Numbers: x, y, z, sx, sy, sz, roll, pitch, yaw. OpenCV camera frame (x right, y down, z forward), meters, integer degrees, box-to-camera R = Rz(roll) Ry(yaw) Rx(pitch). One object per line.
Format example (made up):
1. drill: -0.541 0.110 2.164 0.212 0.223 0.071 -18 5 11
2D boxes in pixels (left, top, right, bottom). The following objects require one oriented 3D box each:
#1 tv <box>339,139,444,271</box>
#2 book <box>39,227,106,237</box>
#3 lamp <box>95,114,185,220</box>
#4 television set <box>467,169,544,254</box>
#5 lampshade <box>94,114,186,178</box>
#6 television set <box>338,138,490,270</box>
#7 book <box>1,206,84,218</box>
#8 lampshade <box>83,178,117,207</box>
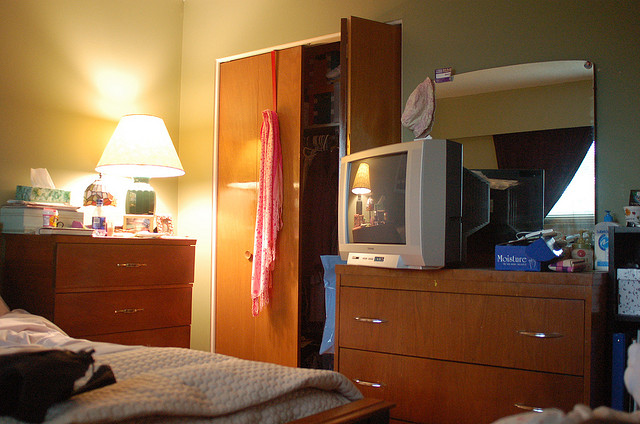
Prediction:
1. tv: 0.447 -0.007 2.924 0.400 0.653 0.672 2 0 -38
2. book: -1.555 0.126 3.157 0.391 0.054 0.279 3 -2 -30
3. lamp: -1.401 -0.303 3.979 0.692 1.112 0.729 -1 2 -29
4. television set: 1.180 -0.042 3.188 0.483 0.482 0.268 4 15 28
5. lampshade: -1.298 -0.402 3.579 0.517 0.307 0.500 -2 2 -35
6. television set: 0.557 0.014 3.062 0.790 0.715 0.863 -2 -6 38
7. book: -1.799 0.002 3.228 0.470 0.058 0.195 3 -2 -29
8. lampshade: -1.577 -0.127 3.574 0.219 0.199 0.227 0 -2 4
